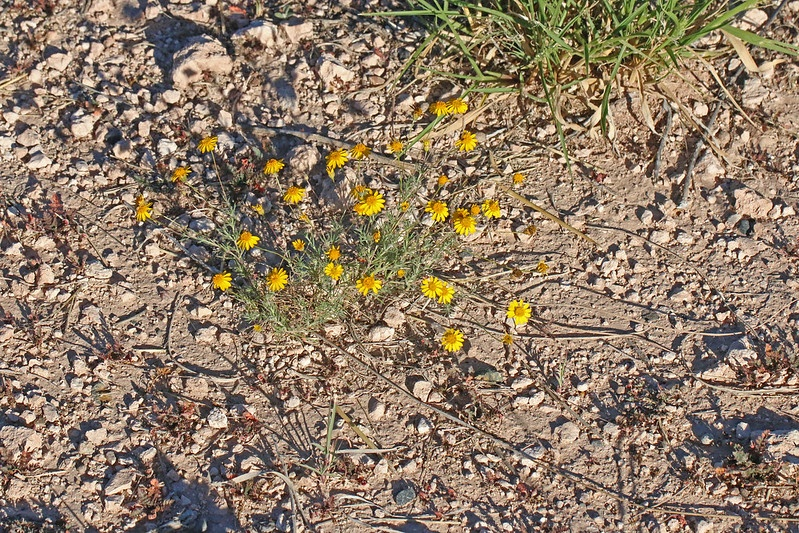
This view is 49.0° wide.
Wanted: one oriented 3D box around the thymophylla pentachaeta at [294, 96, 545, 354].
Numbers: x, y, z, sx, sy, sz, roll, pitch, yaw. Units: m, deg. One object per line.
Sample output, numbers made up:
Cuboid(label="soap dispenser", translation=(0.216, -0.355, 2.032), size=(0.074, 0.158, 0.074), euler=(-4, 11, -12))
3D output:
Cuboid(label="thymophylla pentachaeta", translation=(-0.015, -0.174, 6.918), size=(1.856, 0.642, 1.393), euler=(5, 87, 1))

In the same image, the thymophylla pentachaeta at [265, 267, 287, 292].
Cuboid(label="thymophylla pentachaeta", translation=(-0.939, 0.093, 6.763), size=(0.165, 0.329, 0.182), euler=(-21, 87, 0))

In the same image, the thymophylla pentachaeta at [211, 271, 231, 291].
Cuboid(label="thymophylla pentachaeta", translation=(-1.395, 0.118, 6.797), size=(0.181, 0.317, 0.139), euler=(-6, 87, 1))
